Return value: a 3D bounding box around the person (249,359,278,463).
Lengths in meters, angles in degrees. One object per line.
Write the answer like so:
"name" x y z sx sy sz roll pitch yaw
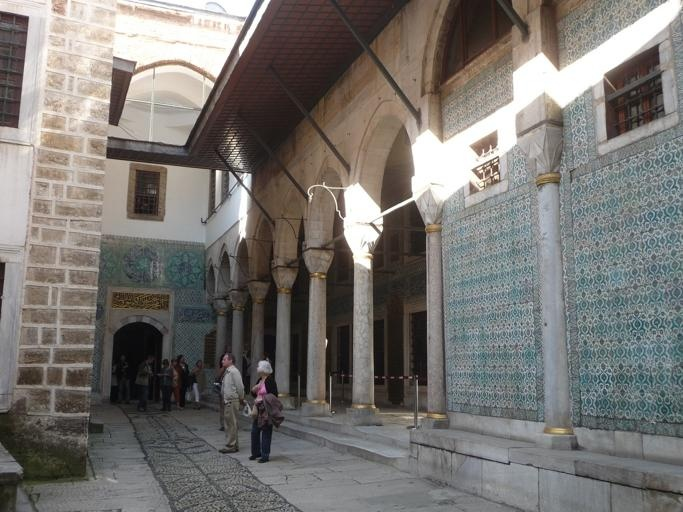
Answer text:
"person" -1.111 2.169 8.387 0.372 1.416 1.059 0 -13 -8
